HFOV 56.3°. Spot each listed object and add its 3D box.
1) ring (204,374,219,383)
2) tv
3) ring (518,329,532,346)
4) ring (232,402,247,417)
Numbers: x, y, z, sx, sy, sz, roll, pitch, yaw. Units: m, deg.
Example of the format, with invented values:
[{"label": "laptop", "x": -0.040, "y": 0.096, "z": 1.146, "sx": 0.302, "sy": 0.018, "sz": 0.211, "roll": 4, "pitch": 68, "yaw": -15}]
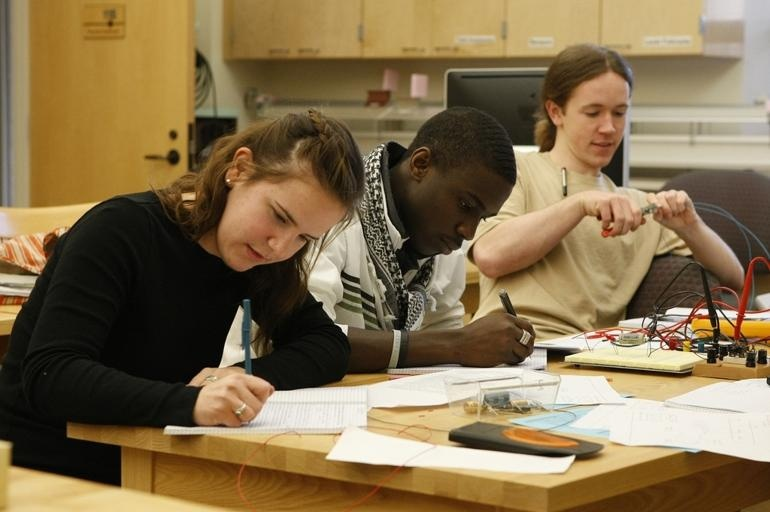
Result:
[{"label": "ring", "x": -0.353, "y": 0.248, "z": 1.460, "sx": 0.018, "sy": 0.008, "sz": 0.024, "roll": -1, "pitch": 3, "yaw": -1}, {"label": "tv", "x": 0.660, "y": -0.433, "z": 3.168, "sx": 0.990, "sy": 0.646, "sz": 0.504, "roll": 1, "pitch": 3, "yaw": 7}, {"label": "ring", "x": 0.352, "y": 0.201, "z": 1.790, "sx": 0.029, "sy": 0.037, "sz": 0.016, "roll": 7, "pitch": -5, "yaw": 38}, {"label": "ring", "x": -0.256, "y": 0.274, "z": 1.282, "sx": 0.010, "sy": 0.022, "sz": 0.020, "roll": 32, "pitch": -6, "yaw": -22}]
